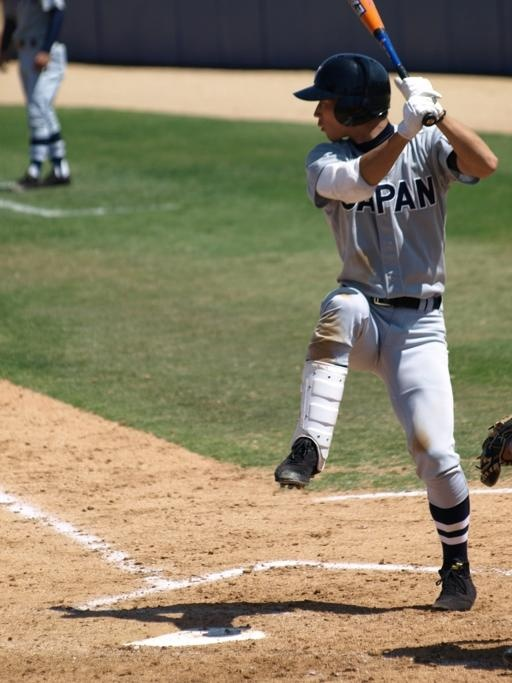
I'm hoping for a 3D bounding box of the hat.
[{"bbox_3d":[0.322,-0.963,5.057,0.396,0.220,0.264,-6,25,-12],"label":"hat"}]

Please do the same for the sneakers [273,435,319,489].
[{"bbox_3d":[0.146,0.437,4.815,0.127,0.182,0.177,4,9,12],"label":"sneakers"}]

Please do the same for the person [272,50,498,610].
[{"bbox_3d":[0.488,-0.034,4.992,0.763,2.010,0.585,3,9,0],"label":"person"}]
